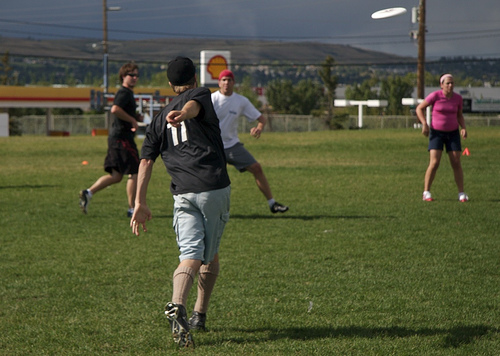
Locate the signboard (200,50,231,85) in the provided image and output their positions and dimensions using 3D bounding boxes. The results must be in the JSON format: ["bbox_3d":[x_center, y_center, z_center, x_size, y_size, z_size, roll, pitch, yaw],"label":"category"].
[{"bbox_3d":[-1.334,-3.844,37.634,1.220,1.233,0.642,-5,12,-39],"label":"signboard"}]

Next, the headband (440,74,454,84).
[{"bbox_3d":[3.270,-1.657,17.808,0.150,0.123,0.156,1,-10,-4],"label":"headband"}]

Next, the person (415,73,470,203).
[{"bbox_3d":[3.212,-0.660,17.768,0.878,2.083,0.621,0,6,6],"label":"person"}]

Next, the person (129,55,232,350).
[{"bbox_3d":[-0.817,0.274,13.374,1.140,3.544,1.302,-1,6,-1],"label":"person"}]
